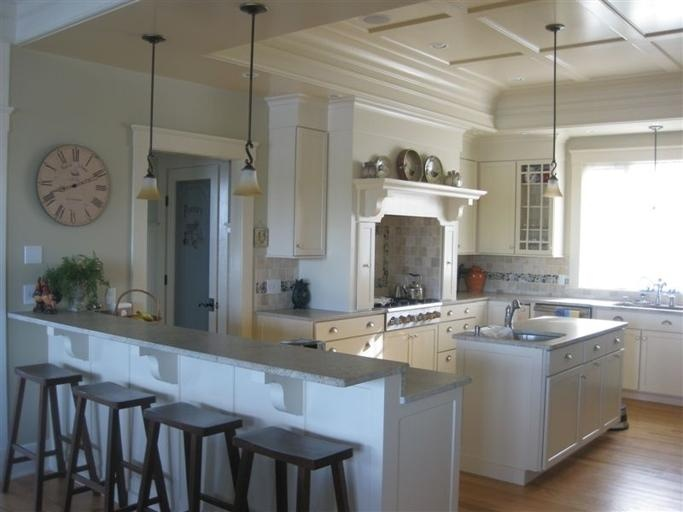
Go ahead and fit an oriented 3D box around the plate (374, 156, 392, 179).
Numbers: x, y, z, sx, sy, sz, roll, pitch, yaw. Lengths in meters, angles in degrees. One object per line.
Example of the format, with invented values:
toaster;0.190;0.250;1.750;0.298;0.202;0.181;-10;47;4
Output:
plate;0.432;-0.931;5.982;0.126;0.255;0.470;1;1;19

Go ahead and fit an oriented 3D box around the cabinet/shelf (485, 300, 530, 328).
cabinet/shelf;1.953;0.665;6.648;0.484;0.474;0.328;-1;-1;37

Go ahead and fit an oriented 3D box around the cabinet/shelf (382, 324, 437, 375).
cabinet/shelf;0.653;0.896;5.622;0.659;0.591;0.252;0;0;-45

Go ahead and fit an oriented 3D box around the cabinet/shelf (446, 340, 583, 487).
cabinet/shelf;1.749;1.291;5.276;1.032;1.655;1.174;0;1;35

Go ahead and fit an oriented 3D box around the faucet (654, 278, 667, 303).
faucet;3.983;0.427;7.090;0.125;0.307;0.330;2;1;29

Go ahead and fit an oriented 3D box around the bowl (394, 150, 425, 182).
bowl;0.774;-0.999;6.328;0.107;0.353;0.456;2;1;39

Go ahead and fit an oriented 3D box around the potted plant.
potted plant;-2.088;0.165;4.615;0.483;0.495;0.418;3;4;30

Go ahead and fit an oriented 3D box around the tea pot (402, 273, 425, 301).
tea pot;0.884;0.372;6.978;0.220;0.322;0.326;0;-2;-10

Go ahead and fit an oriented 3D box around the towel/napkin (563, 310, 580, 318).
towel/napkin;2.853;0.706;7.048;0.110;0.116;0.034;0;-10;26

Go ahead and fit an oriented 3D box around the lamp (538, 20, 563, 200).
lamp;1.894;-1.266;5.076;0.230;1.491;0.234;-1;9;2

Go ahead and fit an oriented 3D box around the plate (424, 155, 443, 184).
plate;1.062;-0.995;6.579;0.082;0.299;0.290;3;4;35

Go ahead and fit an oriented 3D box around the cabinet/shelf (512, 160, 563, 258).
cabinet/shelf;2.671;-0.646;7.700;0.501;1.243;0.280;4;7;41

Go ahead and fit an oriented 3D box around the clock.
clock;-2.217;-0.585;4.633;0.674;0.804;0.086;-2;2;-38
